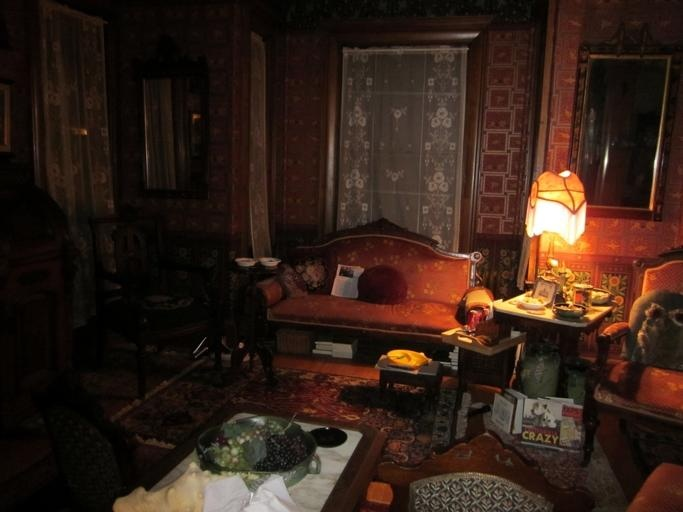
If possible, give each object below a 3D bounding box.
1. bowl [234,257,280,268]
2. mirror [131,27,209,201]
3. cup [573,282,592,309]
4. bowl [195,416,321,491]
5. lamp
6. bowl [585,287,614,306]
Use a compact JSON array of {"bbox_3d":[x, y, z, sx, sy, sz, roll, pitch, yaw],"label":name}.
[{"bbox_3d":[-0.823,0.054,5.287,0.407,0.083,0.410,1,12,0],"label":"bowl"},{"bbox_3d":[-1.943,-1.584,6.086,0.990,1.772,0.312,7,15,26],"label":"mirror"},{"bbox_3d":[2.069,0.359,4.646,0.174,0.262,0.181,3,0,0],"label":"cup"},{"bbox_3d":[-0.440,1.056,2.876,0.424,0.116,0.371,6,3,-3],"label":"bowl"},{"bbox_3d":[1.921,-0.435,4.802,0.486,0.611,0.316,5,14,19],"label":"lamp"},{"bbox_3d":[2.311,0.334,4.789,0.195,0.087,0.192,-1,4,0],"label":"bowl"}]
